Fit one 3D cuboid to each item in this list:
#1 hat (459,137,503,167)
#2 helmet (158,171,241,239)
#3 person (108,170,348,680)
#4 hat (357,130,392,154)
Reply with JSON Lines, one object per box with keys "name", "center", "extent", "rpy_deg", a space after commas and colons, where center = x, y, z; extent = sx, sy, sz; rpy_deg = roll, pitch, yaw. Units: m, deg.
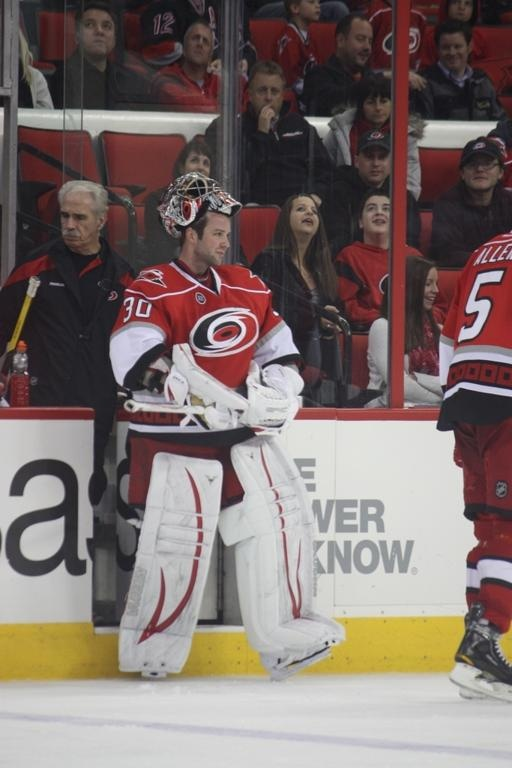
{"name": "hat", "center": [0.857, -0.865, 4.845], "extent": [0.110, 0.080, 0.147], "rpy_deg": [-2, -26, 5]}
{"name": "helmet", "center": [-0.210, -0.601, 4.206], "extent": [0.251, 0.219, 0.186], "rpy_deg": [21, 29, 27]}
{"name": "person", "center": [-0.110, 0.134, 4.126], "extent": [0.720, 1.634, 0.315], "rpy_deg": [0, 1, -7]}
{"name": "hat", "center": [0.416, -0.859, 4.491], "extent": [0.078, 0.053, 0.105], "rpy_deg": [0, -10, 4]}
